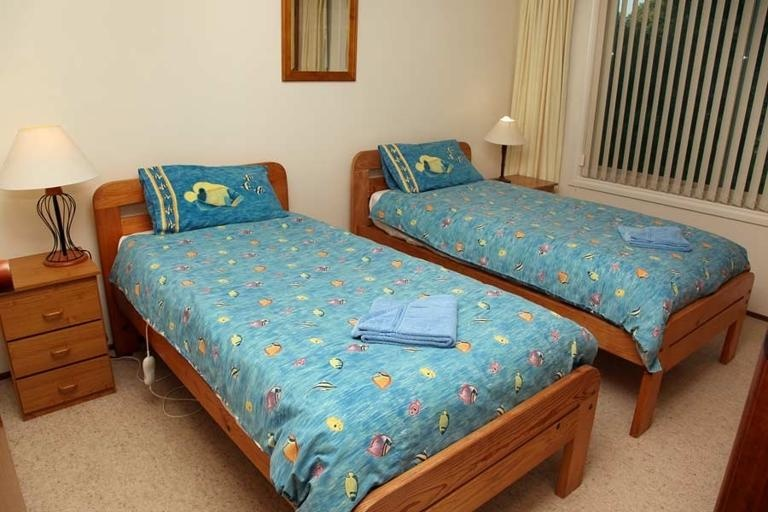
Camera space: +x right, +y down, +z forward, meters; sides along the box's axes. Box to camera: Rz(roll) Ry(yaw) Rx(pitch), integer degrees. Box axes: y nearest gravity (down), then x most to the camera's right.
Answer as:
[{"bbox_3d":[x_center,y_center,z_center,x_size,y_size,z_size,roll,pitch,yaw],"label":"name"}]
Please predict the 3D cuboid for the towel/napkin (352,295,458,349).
[{"bbox_3d":[0.133,0.331,2.597,0.316,0.091,0.305,1,20,10],"label":"towel/napkin"}]

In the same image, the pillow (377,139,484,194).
[{"bbox_3d":[0.439,-0.834,4.814,0.972,0.326,0.477,-18,41,-36],"label":"pillow"}]
